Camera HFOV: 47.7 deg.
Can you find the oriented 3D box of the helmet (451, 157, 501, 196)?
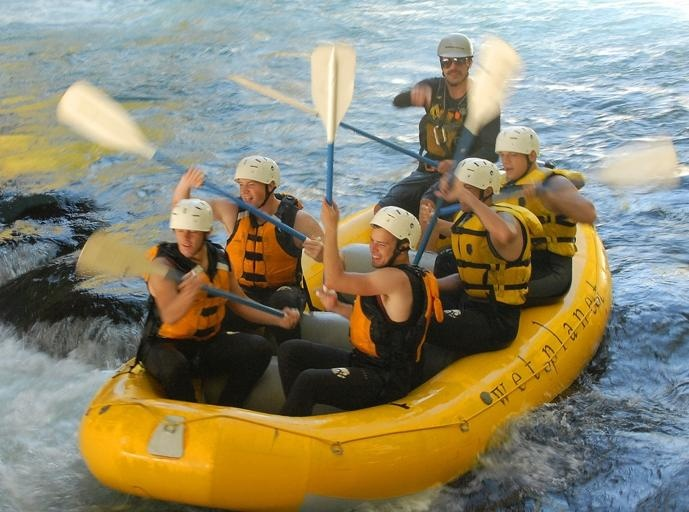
[{"bbox_3d":[1.007,-0.612,6.011,0.394,0.239,0.290,-6,15,-44],"label":"helmet"}]

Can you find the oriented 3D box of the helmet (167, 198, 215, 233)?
[{"bbox_3d":[-1.072,-0.278,5.573,0.314,0.356,0.238,0,80,2],"label":"helmet"}]

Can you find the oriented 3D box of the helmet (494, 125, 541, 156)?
[{"bbox_3d":[1.386,-0.941,6.406,0.348,0.157,0.237,5,2,-25],"label":"helmet"}]

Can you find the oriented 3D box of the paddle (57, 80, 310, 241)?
[{"bbox_3d":[-2.000,-1.127,9.577,4.343,0.142,0.628,21,76,0],"label":"paddle"}]

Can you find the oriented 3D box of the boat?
[{"bbox_3d":[0.414,0.848,5.492,3.171,0.554,1.790,-27,37,-34],"label":"boat"}]

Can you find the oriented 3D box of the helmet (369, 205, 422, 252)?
[{"bbox_3d":[0.375,-0.183,5.377,0.342,0.202,0.235,12,0,-31],"label":"helmet"}]

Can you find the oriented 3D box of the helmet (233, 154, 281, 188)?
[{"bbox_3d":[-0.695,-0.680,6.233,0.259,0.328,0.168,3,71,40],"label":"helmet"}]
